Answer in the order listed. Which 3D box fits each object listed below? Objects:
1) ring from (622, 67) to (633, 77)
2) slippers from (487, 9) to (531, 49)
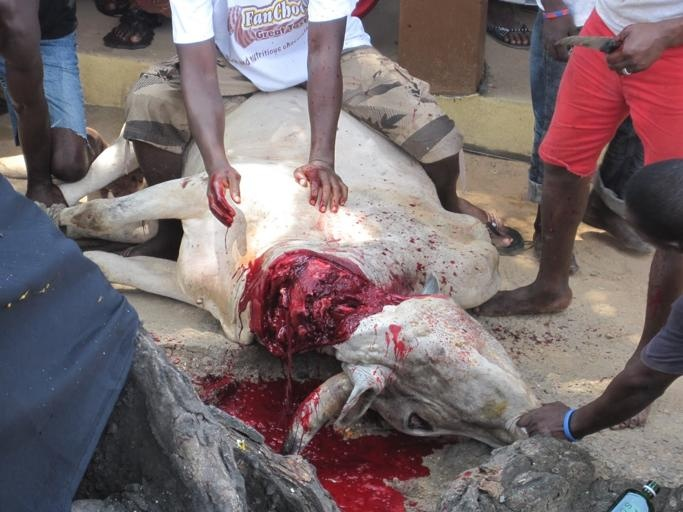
[{"bbox_3d":[1.189,-0.761,3.731,0.025,0.013,0.034,28,1,-15],"label":"ring"},{"bbox_3d":[1.249,-1.682,6.702,0.209,0.096,0.295,-12,40,-19],"label":"slippers"}]
